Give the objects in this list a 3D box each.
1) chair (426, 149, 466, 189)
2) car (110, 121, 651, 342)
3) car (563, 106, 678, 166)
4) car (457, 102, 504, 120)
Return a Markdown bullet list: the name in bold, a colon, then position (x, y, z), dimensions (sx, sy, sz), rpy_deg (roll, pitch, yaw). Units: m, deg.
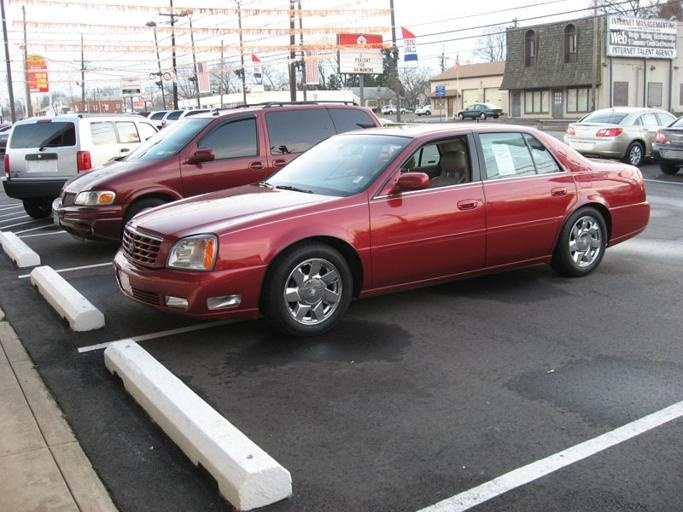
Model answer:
- **chair**: position (1.239, -1.067, 5.687), dimensions (0.505, 0.420, 0.427), rpy_deg (-1, 12, -35)
- **car**: position (0.833, -0.575, 5.899), dimensions (5.963, 1.451, 2.374), rpy_deg (-4, 7, -25)
- **car**: position (9.546, -4.812, 17.981), dimensions (4.676, 1.264, 1.996), rpy_deg (-11, 14, -33)
- **car**: position (14.106, -17.834, 56.437), dimensions (2.313, 1.376, 4.908), rpy_deg (-14, 20, -41)
